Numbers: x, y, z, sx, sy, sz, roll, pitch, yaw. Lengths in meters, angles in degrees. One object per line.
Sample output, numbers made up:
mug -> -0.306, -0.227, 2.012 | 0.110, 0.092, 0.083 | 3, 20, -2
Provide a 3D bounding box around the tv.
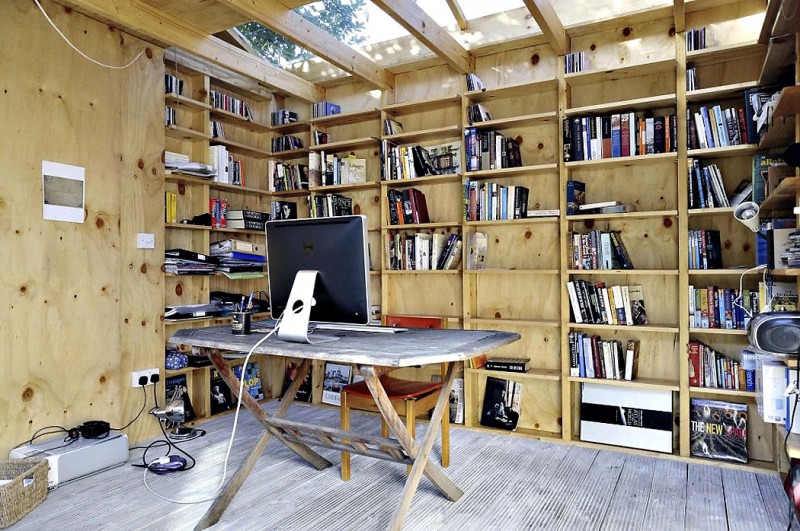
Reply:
tv -> -0.502, 0.086, 3.383 | 0.790, 0.665, 0.281 | 1, 6, 22
